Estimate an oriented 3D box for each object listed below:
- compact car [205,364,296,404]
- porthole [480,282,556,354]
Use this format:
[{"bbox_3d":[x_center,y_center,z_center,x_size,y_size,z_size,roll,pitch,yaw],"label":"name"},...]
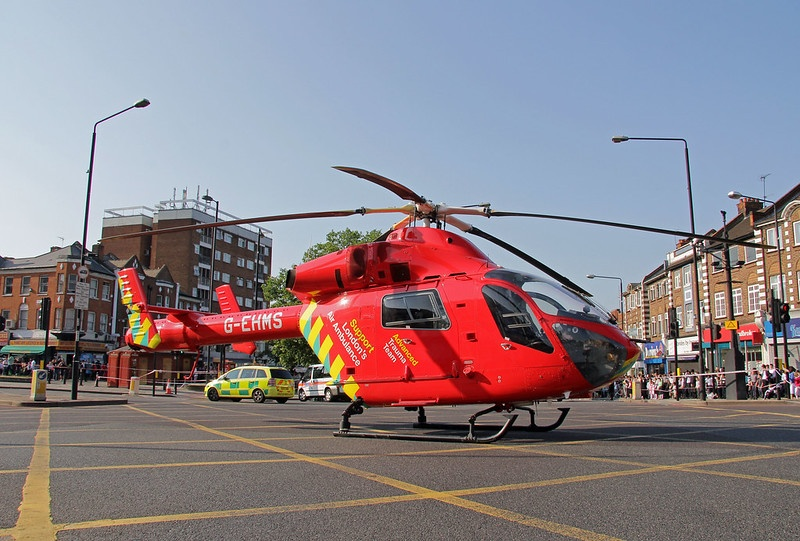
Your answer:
[{"bbox_3d":[-6.614,5.076,27.486,3.279,1.181,1.891,1,-8,16],"label":"compact car"},{"bbox_3d":[2.117,0.846,11.059,1.197,1.226,0.117,-4,-9,27],"label":"porthole"}]
